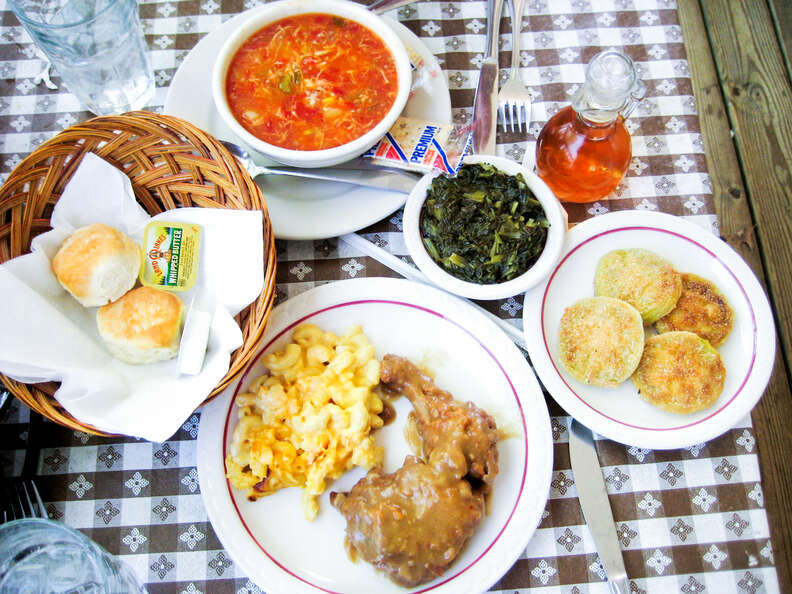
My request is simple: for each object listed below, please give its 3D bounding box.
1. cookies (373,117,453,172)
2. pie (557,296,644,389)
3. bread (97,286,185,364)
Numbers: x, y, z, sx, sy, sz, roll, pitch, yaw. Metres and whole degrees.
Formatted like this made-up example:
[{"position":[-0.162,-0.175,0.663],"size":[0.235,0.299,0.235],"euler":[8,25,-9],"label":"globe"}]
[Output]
[{"position":[0.128,-0.728,3.079],"size":[0.357,0.257,0.088],"euler":[11,22,-23],"label":"cookies"},{"position":[0.915,0.207,2.894],"size":[0.351,0.397,0.155],"euler":[3,-13,0],"label":"pie"},{"position":[-1.098,0.124,2.816],"size":[0.365,0.182,0.394],"euler":[-11,49,-26],"label":"bread"}]
